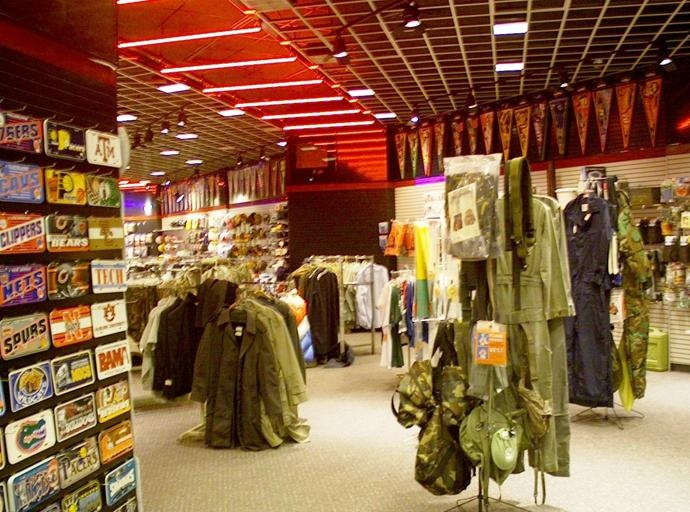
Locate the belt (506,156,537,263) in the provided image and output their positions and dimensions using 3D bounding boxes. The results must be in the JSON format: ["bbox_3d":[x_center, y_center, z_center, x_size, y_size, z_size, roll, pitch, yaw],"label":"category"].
[{"bbox_3d":[1.048,-0.289,3.051,0.202,0.612,0.157,-2,3,1],"label":"belt"}]
